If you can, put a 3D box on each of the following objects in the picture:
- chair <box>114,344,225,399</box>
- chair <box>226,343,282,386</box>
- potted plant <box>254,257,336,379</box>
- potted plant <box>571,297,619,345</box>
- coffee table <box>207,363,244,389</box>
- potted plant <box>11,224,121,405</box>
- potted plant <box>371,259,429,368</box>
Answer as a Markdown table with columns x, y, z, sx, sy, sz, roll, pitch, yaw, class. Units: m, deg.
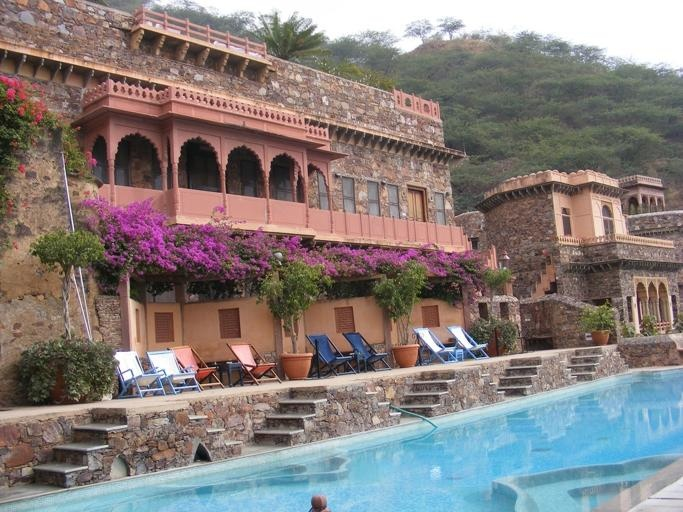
| x | y | z | sx | sy | sz | roll | pitch | yaw | class |
| --- | --- | --- | --- | --- | --- | --- | --- | --- | --- |
| -4.112 | 2.635 | 14.972 | 1.819 | 1.028 | 2.243 | -6 | -8 | 4 | chair |
| -2.257 | 2.727 | 16.529 | 1.149 | 1.023 | 0.826 | 0 | -2 | 35 | chair |
| -1.291 | 1.626 | 18.353 | 2.743 | 3.580 | 2.428 | -11 | -14 | 28 | potted plant |
| 10.947 | 2.960 | 27.295 | 1.260 | 1.570 | 1.522 | -4 | -13 | 22 | potted plant |
| -2.993 | 3.042 | 16.631 | 0.976 | 0.689 | 0.565 | -8 | -8 | 44 | coffee table |
| -5.836 | 1.222 | 13.807 | 1.857 | 3.693 | 1.137 | -6 | -8 | 5 | potted plant |
| 2.126 | 1.941 | 21.461 | 1.526 | 3.250 | 1.987 | 8 | -16 | -29 | potted plant |
